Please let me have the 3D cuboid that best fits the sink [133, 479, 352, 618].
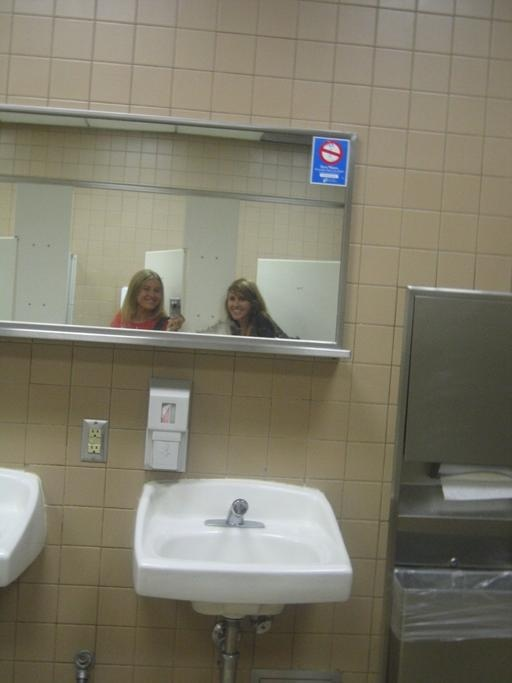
[{"bbox_3d":[-0.045,0.573,1.936,0.559,0.299,0.366,6,10,-10],"label":"sink"}]
